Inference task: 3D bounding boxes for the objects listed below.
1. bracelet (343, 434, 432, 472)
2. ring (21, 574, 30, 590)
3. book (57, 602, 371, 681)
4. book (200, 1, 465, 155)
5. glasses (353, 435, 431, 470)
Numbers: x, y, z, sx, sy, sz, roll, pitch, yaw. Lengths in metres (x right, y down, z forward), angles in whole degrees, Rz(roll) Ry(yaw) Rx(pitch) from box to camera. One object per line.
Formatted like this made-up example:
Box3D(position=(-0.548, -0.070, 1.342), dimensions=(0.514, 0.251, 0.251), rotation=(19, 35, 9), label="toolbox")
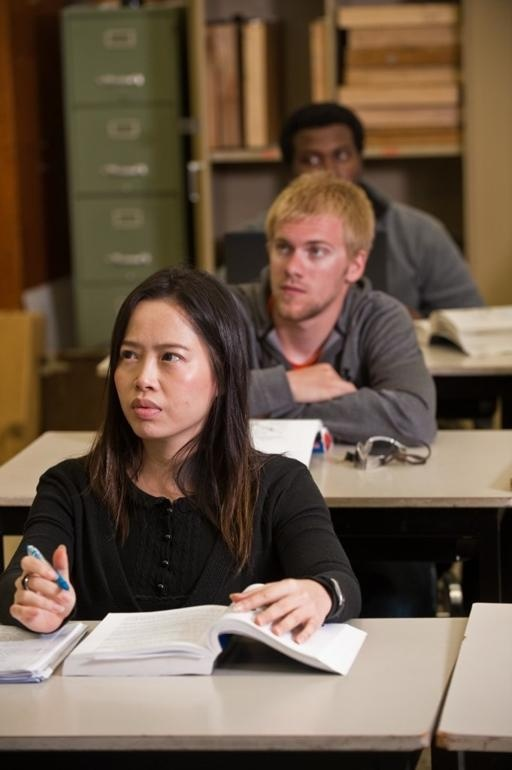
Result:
Box3D(position=(0.307, 0.145, 1.530), dimensions=(0.139, 0.046, 0.087), rotation=(0, 7, 3), label="bracelet")
Box3D(position=(-0.260, 0.223, 0.794), dimensions=(0.010, 0.014, 0.013), rotation=(4, 5, 9), label="ring")
Box3D(position=(-0.035, 0.257, 0.767), dimensions=(0.306, 0.078, 0.156), rotation=(2, 6, 9), label="book")
Box3D(position=(0.332, -1.176, 2.670), dimensions=(0.746, 0.648, 0.233), rotation=(-2, -2, 10), label="book")
Box3D(position=(0.300, 0.136, 1.523), dimensions=(0.125, 0.043, 0.084), rotation=(1, 3, 9), label="glasses")
